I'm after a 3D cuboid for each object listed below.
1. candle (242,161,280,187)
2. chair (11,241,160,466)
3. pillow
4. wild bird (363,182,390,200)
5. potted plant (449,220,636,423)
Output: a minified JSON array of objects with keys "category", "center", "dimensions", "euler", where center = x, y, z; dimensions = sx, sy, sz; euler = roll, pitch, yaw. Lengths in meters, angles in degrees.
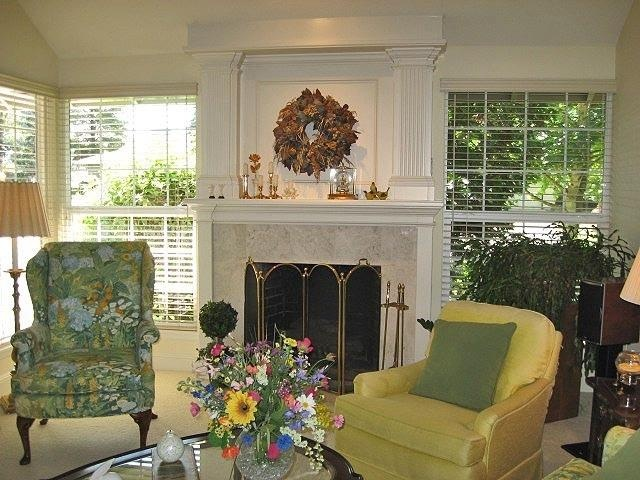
[{"category":"candle","center":[-0.524,-0.579,4.662],"dimensions":[0.329,0.226,0.243],"euler":[0,3,7]},{"category":"chair","center":[-1.630,0.752,3.834],"dimensions":[0.943,1.442,0.767],"euler":[-1,3,-16]},{"category":"pillow","center":[0.888,0.765,3.279],"dimensions":[0.558,0.538,0.171],"euler":[5,-17,43]},{"category":"wild bird","center":[0.483,-0.410,4.521],"dimensions":[0.204,0.148,0.271],"euler":[0,2,6]},{"category":"potted plant","center":[1.569,0.591,3.690],"dimensions":[1.503,1.584,0.981],"euler":[0,1,7]}]
